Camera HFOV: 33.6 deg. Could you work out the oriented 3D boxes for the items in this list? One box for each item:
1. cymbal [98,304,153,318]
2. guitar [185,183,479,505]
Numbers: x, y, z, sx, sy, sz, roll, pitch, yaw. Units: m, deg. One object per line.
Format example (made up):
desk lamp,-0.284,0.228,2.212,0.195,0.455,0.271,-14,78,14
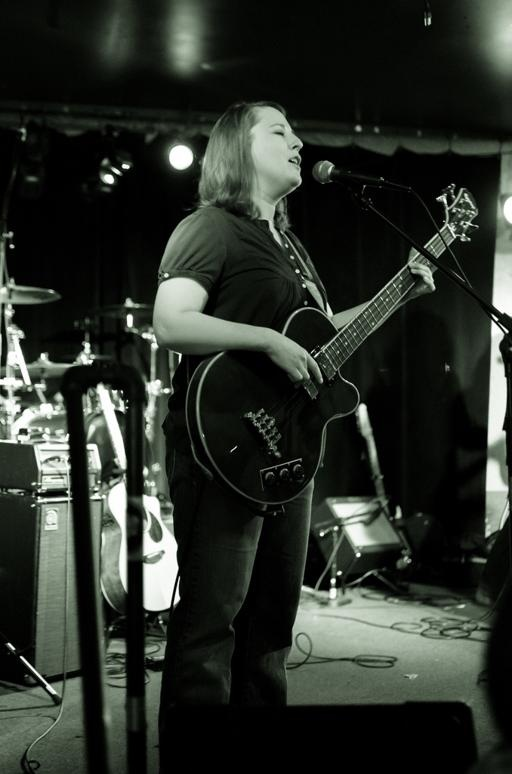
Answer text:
cymbal,-0.774,-0.450,5.044,0.149,0.043,0.158,-2,-5,37
guitar,0.099,-0.004,1.943,0.144,0.535,0.692,-1,-3,37
